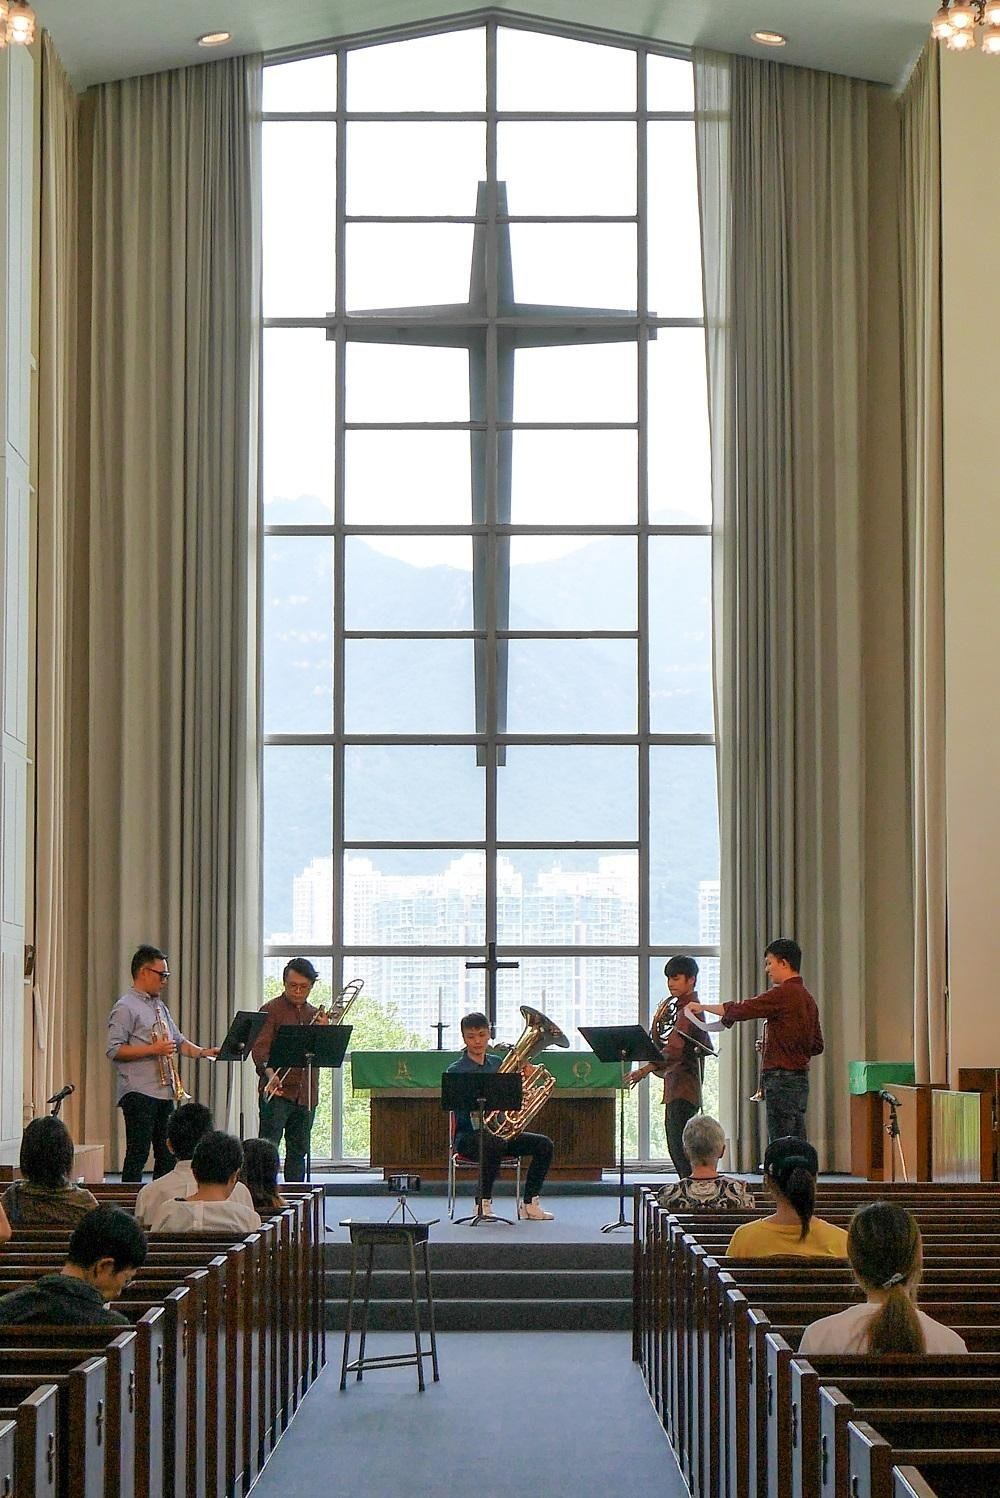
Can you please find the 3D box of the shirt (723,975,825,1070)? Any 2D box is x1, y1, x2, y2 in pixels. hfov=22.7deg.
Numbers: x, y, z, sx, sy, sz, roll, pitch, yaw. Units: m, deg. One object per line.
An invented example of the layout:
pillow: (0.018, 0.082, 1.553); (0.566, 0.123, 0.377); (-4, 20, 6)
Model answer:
shirt: (1.177, 1.169, 10.418); (0.471, 0.434, 0.258); (13, -7, -37)

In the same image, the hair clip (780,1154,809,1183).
hair clip: (0.790, 1.125, 6.679); (0.072, 0.056, 0.072); (0, -3, -10)

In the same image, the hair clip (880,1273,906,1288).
hair clip: (0.854, 1.174, 5.445); (0.045, 0.039, 0.033); (-1, -3, 5)

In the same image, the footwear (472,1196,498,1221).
footwear: (-0.070, 1.993, 10.675); (0.075, 0.074, 0.124); (1, 3, 2)

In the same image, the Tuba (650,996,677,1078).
Tuba: (0.702, 1.190, 10.695); (0.076, 0.274, 0.238); (4, -30, -7)

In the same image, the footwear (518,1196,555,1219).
footwear: (0.155, 2.019, 10.856); (0.159, 0.140, 0.073); (-1, -5, 7)

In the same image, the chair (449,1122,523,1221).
chair: (-0.062, 1.788, 10.855); (0.327, 0.627, 0.344); (-2, -8, 11)

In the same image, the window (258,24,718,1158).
window: (-0.064, -1.272, 14.520); (1.861, 6.514, 0.249); (-1, -37, 1)

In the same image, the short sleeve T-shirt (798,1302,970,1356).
short sleeve T-shirt: (0.827, 1.278, 5.416); (0.360, 0.102, 0.266); (-1, -3, 6)

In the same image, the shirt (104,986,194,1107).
shirt: (-1.449, 1.250, 10.307); (0.215, 0.493, 0.353); (-25, -25, 39)
